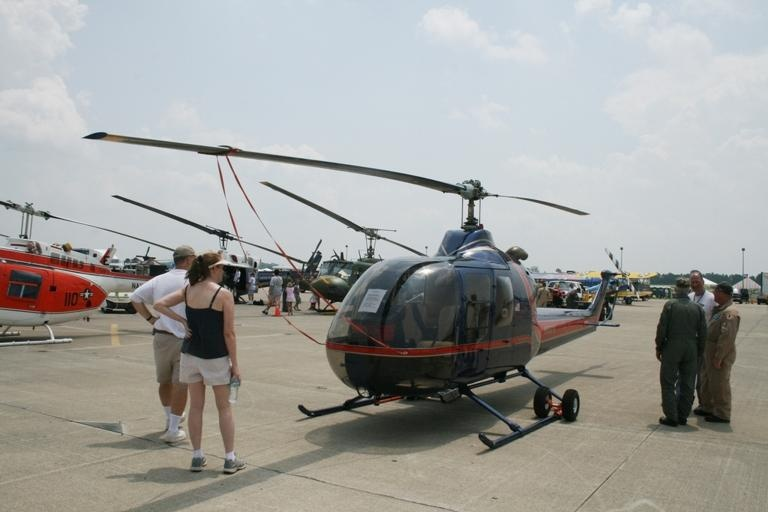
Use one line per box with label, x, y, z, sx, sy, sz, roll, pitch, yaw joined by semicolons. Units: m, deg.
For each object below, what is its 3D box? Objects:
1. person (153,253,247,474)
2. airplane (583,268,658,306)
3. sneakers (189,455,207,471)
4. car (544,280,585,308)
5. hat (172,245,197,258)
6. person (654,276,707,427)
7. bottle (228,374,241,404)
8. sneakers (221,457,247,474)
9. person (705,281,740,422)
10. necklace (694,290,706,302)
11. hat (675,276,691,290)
person;-2.140;1.216;6.847;0.587;2.531;1.110;-4;8;-41
airplane;16.191;2.048;40.412;5.576;1.402;5.237;-7;1;-39
sneakers;-2.189;2.419;6.685;0.110;0.092;0.253;0;-9;-1
car;9.140;1.932;29.123;1.790;1.142;2.570;2;-7;-10
hat;-2.395;-0.037;6.818;0.142;0.087;0.189;2;9;30
person;4.418;1.412;8.585;0.743;2.116;0.486;-2;7;-34
bottle;-1.752;1.538;6.651;0.103;0.352;0.351;0;6;-13
sneakers;-1.770;2.439;6.725;0.136;0.122;0.294;-2;-4;17
person;5.188;1.444;8.808;0.444;2.056;0.643;5;7;31
necklace;5.371;0.675;9.700;0.098;0.148;0.173;16;-27;-37
hat;4.560;0.399;8.704;0.169;0.179;0.212;-2;-34;33
